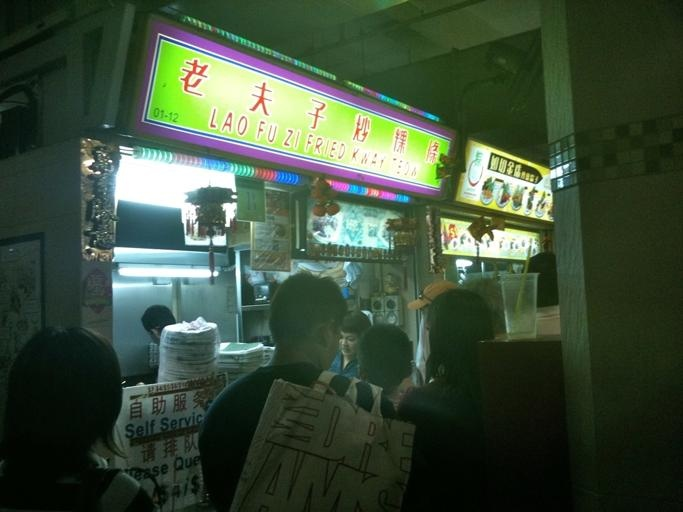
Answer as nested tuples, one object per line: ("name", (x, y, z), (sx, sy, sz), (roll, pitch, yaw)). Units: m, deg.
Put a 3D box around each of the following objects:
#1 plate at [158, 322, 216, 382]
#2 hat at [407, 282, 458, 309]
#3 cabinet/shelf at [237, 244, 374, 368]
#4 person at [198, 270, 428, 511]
("plate", (-1.088, 0.653, 4.511), (0.378, 0.432, 0.387), (-2, -3, 37))
("hat", (0.692, 0.307, 5.038), (0.401, 0.143, 0.270), (-25, 0, 29))
("cabinet/shelf", (-0.497, 0.485, 6.304), (1.198, 1.740, 0.798), (-1, 0, -44))
("person", (-0.101, 0.679, 3.344), (1.272, 1.472, 0.736), (-6, -14, 28))
